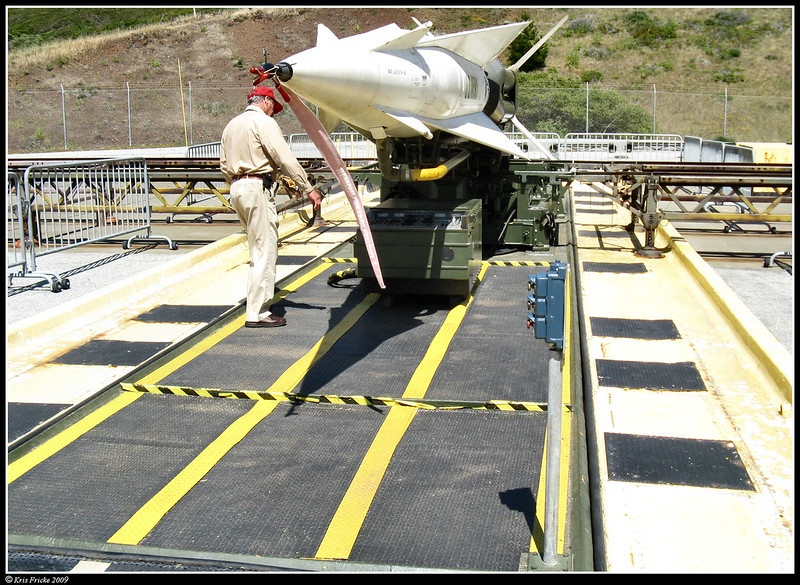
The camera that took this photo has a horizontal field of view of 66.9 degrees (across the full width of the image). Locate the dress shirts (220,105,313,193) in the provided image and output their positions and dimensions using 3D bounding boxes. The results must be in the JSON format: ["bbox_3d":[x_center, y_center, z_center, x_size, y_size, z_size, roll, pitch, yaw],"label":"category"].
[{"bbox_3d":[-1.659,-1.730,7.384,1.387,1.031,0.466,8,16,37],"label":"dress shirts"}]

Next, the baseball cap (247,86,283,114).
[{"bbox_3d":[-1.600,-2.371,7.502,0.464,0.236,0.335,11,-3,-45],"label":"baseball cap"}]
